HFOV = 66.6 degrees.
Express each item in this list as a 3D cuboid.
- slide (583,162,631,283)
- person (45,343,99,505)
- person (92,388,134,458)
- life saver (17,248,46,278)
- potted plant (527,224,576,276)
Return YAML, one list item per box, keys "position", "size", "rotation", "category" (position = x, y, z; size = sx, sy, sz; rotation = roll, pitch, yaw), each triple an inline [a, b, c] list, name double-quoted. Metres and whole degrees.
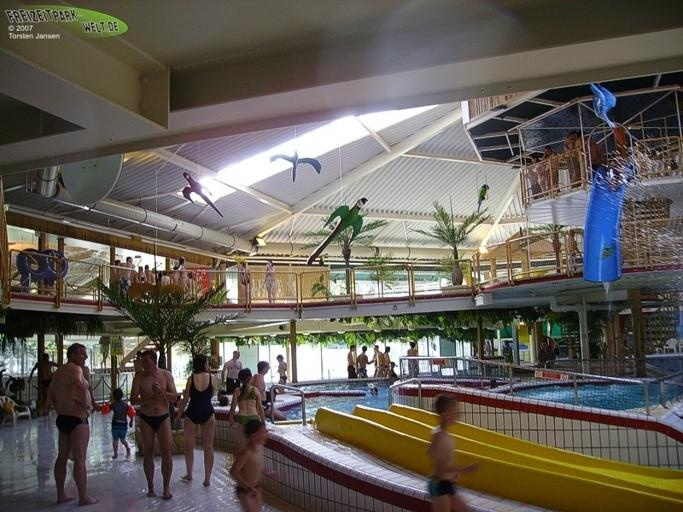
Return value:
- position: [5.070, -1.066, 9.938]
  size: [0.870, 3.494, 1.013]
  rotation: [5, -21, 27]
  category: "slide"
- position: [-3.107, 1.933, 5.976]
  size: [0.476, 1.821, 0.662]
  rotation: [0, -8, -30]
  category: "person"
- position: [-3.790, 2.838, 8.803]
  size: [0.553, 1.097, 0.426]
  rotation: [1, -11, -24]
  category: "person"
- position: [-7.274, 0.195, 12.173]
  size: [0.211, 0.674, 0.570]
  rotation: [-6, -11, 22]
  category: "life saver"
- position: [6.762, -0.275, 16.715]
  size: [1.534, 2.111, 2.051]
  rotation: [-5, -3, 45]
  category: "potted plant"
